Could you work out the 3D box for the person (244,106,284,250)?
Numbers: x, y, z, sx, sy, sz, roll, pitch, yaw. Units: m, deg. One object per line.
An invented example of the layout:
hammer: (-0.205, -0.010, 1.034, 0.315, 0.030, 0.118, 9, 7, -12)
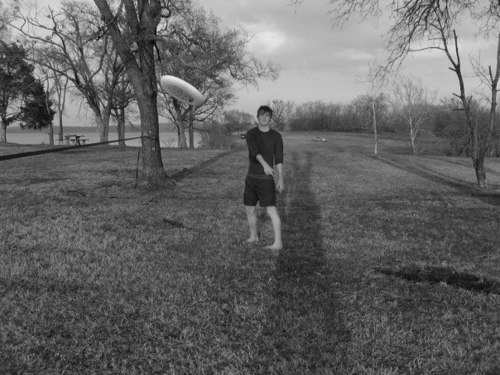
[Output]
person: (0.275, -0.213, 8.642, 0.793, 2.883, 0.734, 2, 6, 5)
